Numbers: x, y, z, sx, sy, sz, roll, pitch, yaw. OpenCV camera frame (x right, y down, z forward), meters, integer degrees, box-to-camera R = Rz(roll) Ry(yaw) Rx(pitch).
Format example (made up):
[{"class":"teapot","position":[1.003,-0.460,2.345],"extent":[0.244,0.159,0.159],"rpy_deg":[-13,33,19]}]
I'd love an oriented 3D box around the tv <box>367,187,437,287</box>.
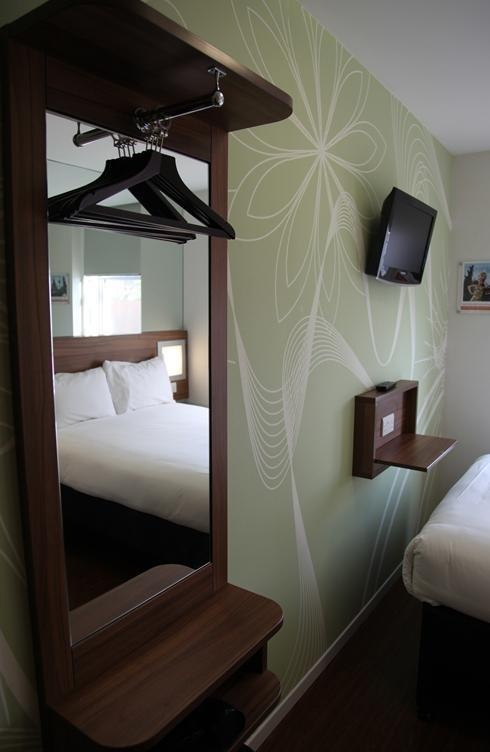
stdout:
[{"class":"tv","position":[0.754,-0.681,2.429],"extent":[0.118,0.503,0.580],"rpy_deg":[9,8,28]}]
